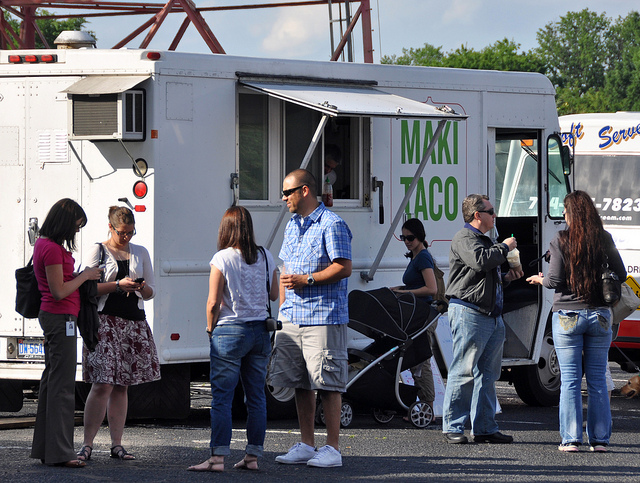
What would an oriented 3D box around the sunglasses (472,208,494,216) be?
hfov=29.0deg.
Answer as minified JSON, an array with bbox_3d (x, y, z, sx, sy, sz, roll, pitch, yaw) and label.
[{"bbox_3d":[1.682,-0.304,12.577,0.267,0.071,0.116,-4,4,-39],"label":"sunglasses"}]

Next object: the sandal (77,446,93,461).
[{"bbox_3d":[-2.157,1.987,11.474,0.089,0.107,0.256,1,-10,-6],"label":"sandal"}]

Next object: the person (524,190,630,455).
[{"bbox_3d":[2.563,0.793,12.135,0.753,2.561,0.340,-1,2,10],"label":"person"}]

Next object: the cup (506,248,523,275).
[{"bbox_3d":[1.943,0.204,12.421,0.110,0.277,0.331,-1,3,16],"label":"cup"}]

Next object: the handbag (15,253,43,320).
[{"bbox_3d":[-2.636,0.391,11.458,0.311,0.610,0.251,1,16,-7],"label":"handbag"}]

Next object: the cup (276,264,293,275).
[{"bbox_3d":[-0.322,0.269,11.643,0.153,0.131,0.144,-1,-4,0],"label":"cup"}]

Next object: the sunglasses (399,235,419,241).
[{"bbox_3d":[0.970,-0.039,13.511,0.220,0.064,0.085,0,3,31],"label":"sunglasses"}]

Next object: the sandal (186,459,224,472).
[{"bbox_3d":[-1.017,2.028,11.159,0.316,0.134,0.109,4,-2,6],"label":"sandal"}]

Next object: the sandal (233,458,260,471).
[{"bbox_3d":[-0.659,2.046,11.281,0.223,0.100,0.075,6,3,38],"label":"sandal"}]

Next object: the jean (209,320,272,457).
[{"bbox_3d":[-0.699,1.355,11.320,0.587,1.268,0.413,2,-4,-37],"label":"jean"}]

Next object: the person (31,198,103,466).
[{"bbox_3d":[-2.335,0.824,11.311,0.588,2.414,0.385,-2,2,-13],"label":"person"}]

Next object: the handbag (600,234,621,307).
[{"bbox_3d":[2.834,0.282,12.107,0.183,0.708,0.260,-1,2,15],"label":"handbag"}]
